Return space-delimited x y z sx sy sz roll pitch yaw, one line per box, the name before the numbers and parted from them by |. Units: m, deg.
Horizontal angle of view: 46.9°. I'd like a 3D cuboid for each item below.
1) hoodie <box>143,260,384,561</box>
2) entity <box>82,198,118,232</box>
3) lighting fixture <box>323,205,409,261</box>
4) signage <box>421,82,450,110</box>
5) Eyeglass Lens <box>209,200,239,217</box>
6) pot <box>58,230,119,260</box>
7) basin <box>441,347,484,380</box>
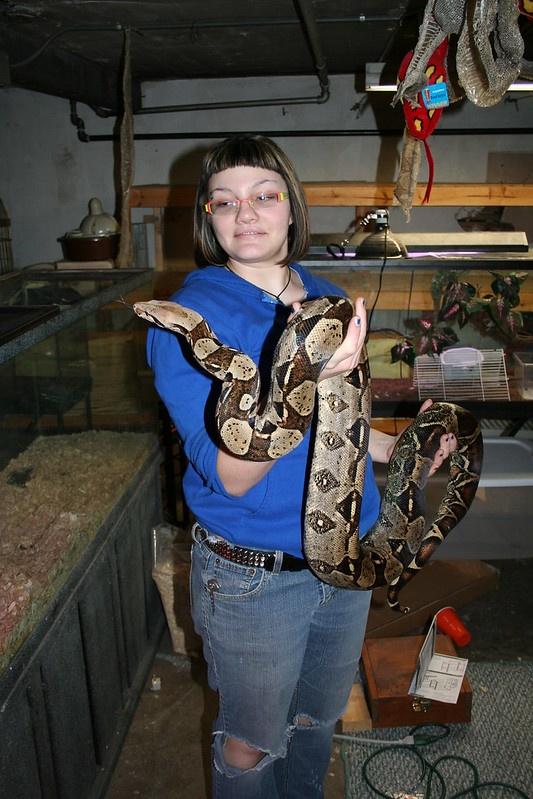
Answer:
hoodie | -0.012 0.035 1.979 0.713 0.832 0.593 -6 20 -39
entity | -1.194 -1.283 4.378 0.268 0.220 0.287 -4 16 -6
lighting fixture | 0.642 -1.016 3.856 0.512 0.293 0.381 3 19 16
signage | 0.701 -1.250 2.550 0.090 0.086 0.021 10 33 35
Eyeglass Lens | -0.138 -0.587 1.893 0.127 0.051 0.031 18 19 37
pot | -1.225 -1.063 4.303 0.381 0.224 0.302 2 16 -15
basin | 1.238 -0.229 3.940 0.268 0.162 0.129 0 7 10
